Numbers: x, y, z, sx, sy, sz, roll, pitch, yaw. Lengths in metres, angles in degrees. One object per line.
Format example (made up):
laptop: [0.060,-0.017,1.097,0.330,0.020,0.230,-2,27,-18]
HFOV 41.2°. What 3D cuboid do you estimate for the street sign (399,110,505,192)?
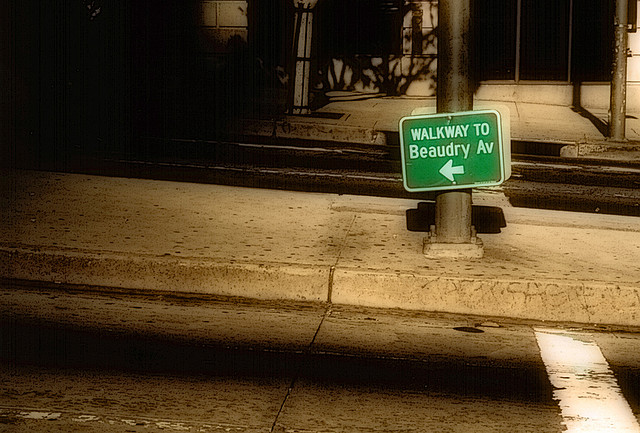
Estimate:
street sign: [1.462,-0.754,9.383,0.750,0.629,0.109,-4,6,6]
